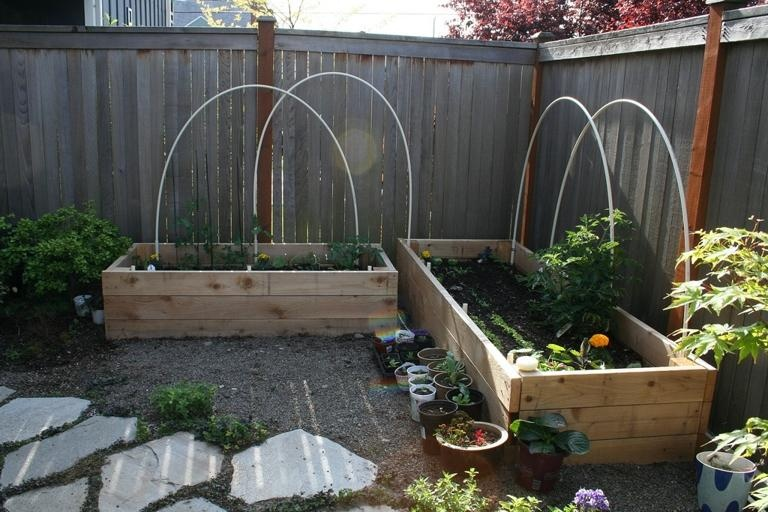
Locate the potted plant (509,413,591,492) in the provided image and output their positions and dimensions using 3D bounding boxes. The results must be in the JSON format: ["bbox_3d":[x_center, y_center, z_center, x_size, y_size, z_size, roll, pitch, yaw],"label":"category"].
[{"bbox_3d":[1.032,1.207,3.434,0.488,0.442,0.458,1,4,6],"label":"potted plant"}]

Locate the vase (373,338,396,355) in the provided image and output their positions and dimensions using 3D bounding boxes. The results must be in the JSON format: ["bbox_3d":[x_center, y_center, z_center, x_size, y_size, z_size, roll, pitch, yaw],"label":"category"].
[{"bbox_3d":[0.014,0.794,4.652,0.106,0.074,0.161,-2,5,-36],"label":"vase"}]

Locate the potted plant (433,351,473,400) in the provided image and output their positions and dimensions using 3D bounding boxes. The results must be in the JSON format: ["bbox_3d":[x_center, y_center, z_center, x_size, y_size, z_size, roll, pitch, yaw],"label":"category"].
[{"bbox_3d":[0.518,0.930,3.965,0.308,0.327,0.285,15,-15,-39],"label":"potted plant"}]

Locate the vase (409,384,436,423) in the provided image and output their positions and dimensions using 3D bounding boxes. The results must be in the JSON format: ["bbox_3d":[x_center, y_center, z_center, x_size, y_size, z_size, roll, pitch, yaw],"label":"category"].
[{"bbox_3d":[0.266,1.052,3.833,0.220,0.245,0.239,0,1,11],"label":"vase"}]

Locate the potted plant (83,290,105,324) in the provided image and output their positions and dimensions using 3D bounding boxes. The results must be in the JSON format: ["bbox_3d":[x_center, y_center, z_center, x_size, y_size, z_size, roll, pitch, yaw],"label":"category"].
[{"bbox_3d":[-2.844,0.495,5.136,0.178,0.271,0.184,-12,-6,26],"label":"potted plant"}]

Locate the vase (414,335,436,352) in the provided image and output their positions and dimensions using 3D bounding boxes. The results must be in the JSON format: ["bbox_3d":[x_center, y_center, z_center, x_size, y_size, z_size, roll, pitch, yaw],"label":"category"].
[{"bbox_3d":[0.367,0.769,4.658,0.128,0.090,0.127,1,2,-29],"label":"vase"}]

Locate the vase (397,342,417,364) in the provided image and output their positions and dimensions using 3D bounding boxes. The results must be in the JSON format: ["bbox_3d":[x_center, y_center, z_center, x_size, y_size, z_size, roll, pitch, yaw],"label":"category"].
[{"bbox_3d":[0.205,0.825,4.527,0.130,0.119,0.139,0,0,1],"label":"vase"}]

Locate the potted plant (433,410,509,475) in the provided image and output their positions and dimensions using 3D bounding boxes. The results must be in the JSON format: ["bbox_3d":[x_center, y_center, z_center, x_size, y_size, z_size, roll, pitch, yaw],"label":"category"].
[{"bbox_3d":[0.558,1.264,3.508,0.536,0.222,0.526,-1,2,-31],"label":"potted plant"}]

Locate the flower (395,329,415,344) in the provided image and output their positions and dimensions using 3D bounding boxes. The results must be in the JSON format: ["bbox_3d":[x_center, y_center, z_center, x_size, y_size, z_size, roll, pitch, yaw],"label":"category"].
[{"bbox_3d":[0.194,0.705,4.660,0.169,0.080,0.111,0,13,0],"label":"flower"}]

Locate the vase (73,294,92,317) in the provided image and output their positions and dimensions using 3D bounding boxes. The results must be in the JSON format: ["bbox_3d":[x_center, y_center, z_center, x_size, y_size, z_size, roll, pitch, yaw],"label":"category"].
[{"bbox_3d":[-2.914,0.451,5.158,0.185,0.210,0.186,19,19,41],"label":"vase"}]

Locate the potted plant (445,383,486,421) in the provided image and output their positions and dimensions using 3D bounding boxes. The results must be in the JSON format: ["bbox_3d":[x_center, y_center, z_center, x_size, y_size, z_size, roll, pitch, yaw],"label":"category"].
[{"bbox_3d":[0.568,1.006,3.702,0.248,0.186,0.231,1,4,5],"label":"potted plant"}]

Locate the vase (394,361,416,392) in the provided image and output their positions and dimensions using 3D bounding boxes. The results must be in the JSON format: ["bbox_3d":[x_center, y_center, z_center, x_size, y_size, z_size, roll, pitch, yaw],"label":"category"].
[{"bbox_3d":[0.183,0.973,4.211,0.149,0.142,0.183,0,1,-1],"label":"vase"}]
